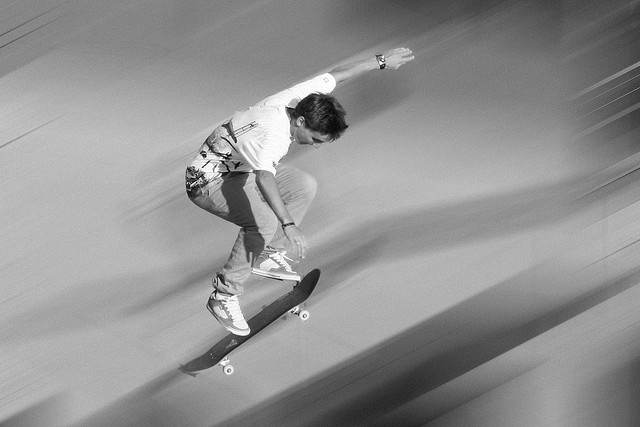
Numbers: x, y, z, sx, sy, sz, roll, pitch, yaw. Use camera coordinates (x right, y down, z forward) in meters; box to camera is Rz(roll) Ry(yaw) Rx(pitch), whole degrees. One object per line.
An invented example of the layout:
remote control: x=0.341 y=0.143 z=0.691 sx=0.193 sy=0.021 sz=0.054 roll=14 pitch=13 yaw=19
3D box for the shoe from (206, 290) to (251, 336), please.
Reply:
shoe: x=-0.958 y=0.963 z=10.404 sx=0.233 sy=0.659 sz=0.426 roll=-17 pitch=-48 yaw=-35

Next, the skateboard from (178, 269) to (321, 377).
skateboard: x=-0.736 y=1.220 z=10.607 sx=1.572 sy=0.362 sz=0.267 roll=-32 pitch=-42 yaw=-6
